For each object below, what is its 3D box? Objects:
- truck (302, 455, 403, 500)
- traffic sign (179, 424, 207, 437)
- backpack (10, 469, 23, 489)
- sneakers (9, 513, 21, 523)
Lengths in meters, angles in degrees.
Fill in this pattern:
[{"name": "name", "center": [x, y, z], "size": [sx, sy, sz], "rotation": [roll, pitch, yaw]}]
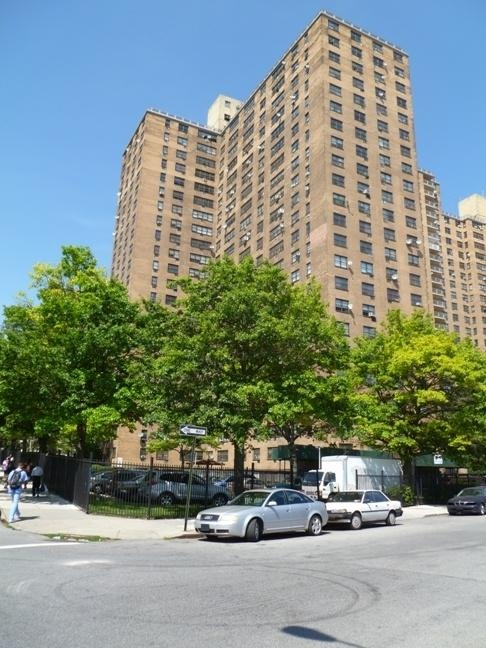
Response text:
[{"name": "truck", "center": [6.212, 8.402, 30.504], "size": [7.090, 3.003, 2.359], "rotation": [13, -26, -29]}, {"name": "traffic sign", "center": [-1.649, 3.469, 18.004], "size": [0.766, 0.562, 1.961], "rotation": [2, -17, -5]}, {"name": "backpack", "center": [-6.786, 4.610, 16.560], "size": [0.395, 0.589, 0.485], "rotation": [5, -18, -14]}, {"name": "sneakers", "center": [-6.837, 5.721, 16.450], "size": [0.188, 0.242, 0.542], "rotation": [3, -10, -1]}]
